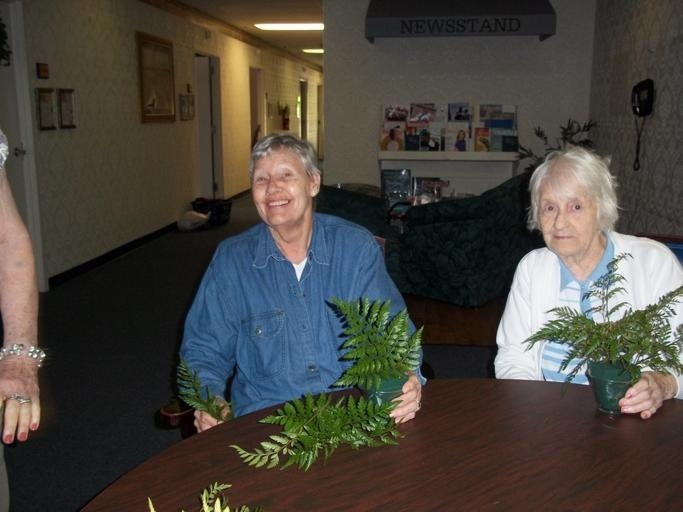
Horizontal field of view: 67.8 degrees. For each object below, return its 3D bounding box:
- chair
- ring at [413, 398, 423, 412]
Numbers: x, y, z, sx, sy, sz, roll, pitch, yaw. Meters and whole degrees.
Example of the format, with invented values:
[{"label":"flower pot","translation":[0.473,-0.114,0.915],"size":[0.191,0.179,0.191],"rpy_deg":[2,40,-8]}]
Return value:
[{"label":"chair","translation":[1.289,-0.322,5.202],"size":[1.164,1.422,1.383],"rpy_deg":[11,22,28]},{"label":"ring","translation":[0.213,0.411,1.405],"size":[0.024,0.033,0.034],"rpy_deg":[5,29,10]}]
